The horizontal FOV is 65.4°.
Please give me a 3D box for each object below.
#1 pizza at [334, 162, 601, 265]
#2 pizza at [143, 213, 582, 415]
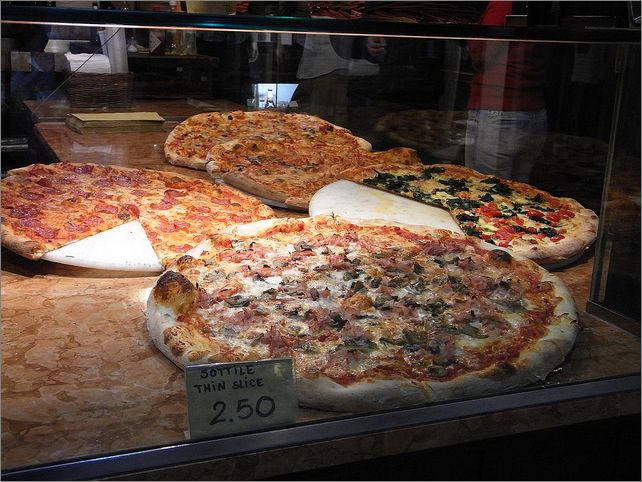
[{"bbox_3d":[0.606,-0.112,2.268,1.041,0.072,0.547,9,20,12],"label":"pizza"},{"bbox_3d":[0.050,0.177,1.386,1.027,0.076,0.568,8,23,6],"label":"pizza"}]
